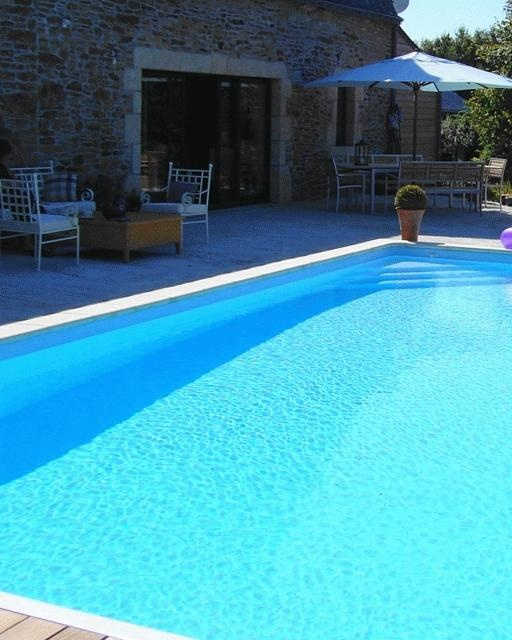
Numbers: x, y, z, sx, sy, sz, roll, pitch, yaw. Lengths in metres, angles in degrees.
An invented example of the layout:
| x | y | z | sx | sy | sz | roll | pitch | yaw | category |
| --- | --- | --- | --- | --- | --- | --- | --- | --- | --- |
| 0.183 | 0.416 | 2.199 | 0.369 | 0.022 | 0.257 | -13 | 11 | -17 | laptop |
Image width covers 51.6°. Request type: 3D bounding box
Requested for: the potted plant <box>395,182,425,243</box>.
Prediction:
| x | y | z | sx | sy | sz | roll | pitch | yaw | category |
| --- | --- | --- | --- | --- | --- | --- | --- | --- | --- |
| 2.356 | -1.636 | 8.071 | 0.430 | 0.857 | 0.504 | 3 | 12 | 14 | potted plant |

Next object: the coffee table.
| x | y | z | sx | sy | sz | roll | pitch | yaw | category |
| --- | --- | --- | --- | --- | --- | --- | --- | --- | --- |
| -1.716 | -1.105 | 6.878 | 1.471 | 0.435 | 1.410 | -5 | 17 | -22 | coffee table |

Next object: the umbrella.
| x | y | z | sx | sy | sz | roll | pitch | yaw | category |
| --- | --- | --- | --- | --- | --- | --- | --- | --- | --- |
| 3.303 | -4.949 | 12.129 | 3.524 | 2.386 | 4.056 | -1 | 12 | -2 | umbrella |
